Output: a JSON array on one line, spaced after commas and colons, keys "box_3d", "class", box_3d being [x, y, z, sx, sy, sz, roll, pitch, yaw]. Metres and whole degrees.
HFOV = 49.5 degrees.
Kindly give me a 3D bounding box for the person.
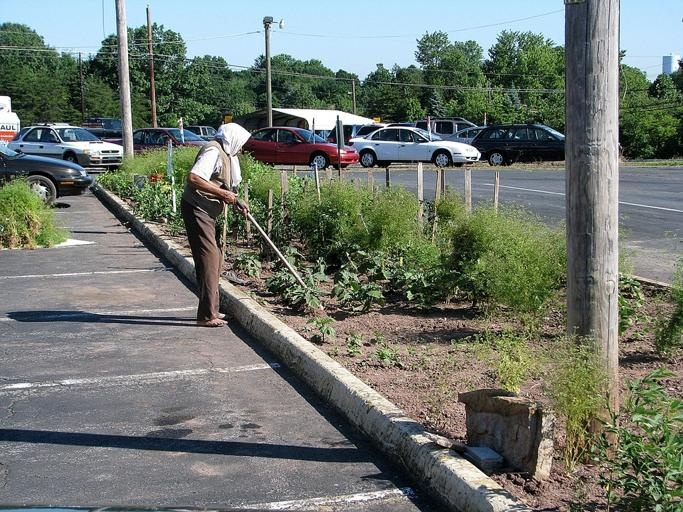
[{"box_3d": [-1.298, -0.319, 7.747, 0.577, 2.058, 0.657, 7, 13, 36], "class": "person"}]
